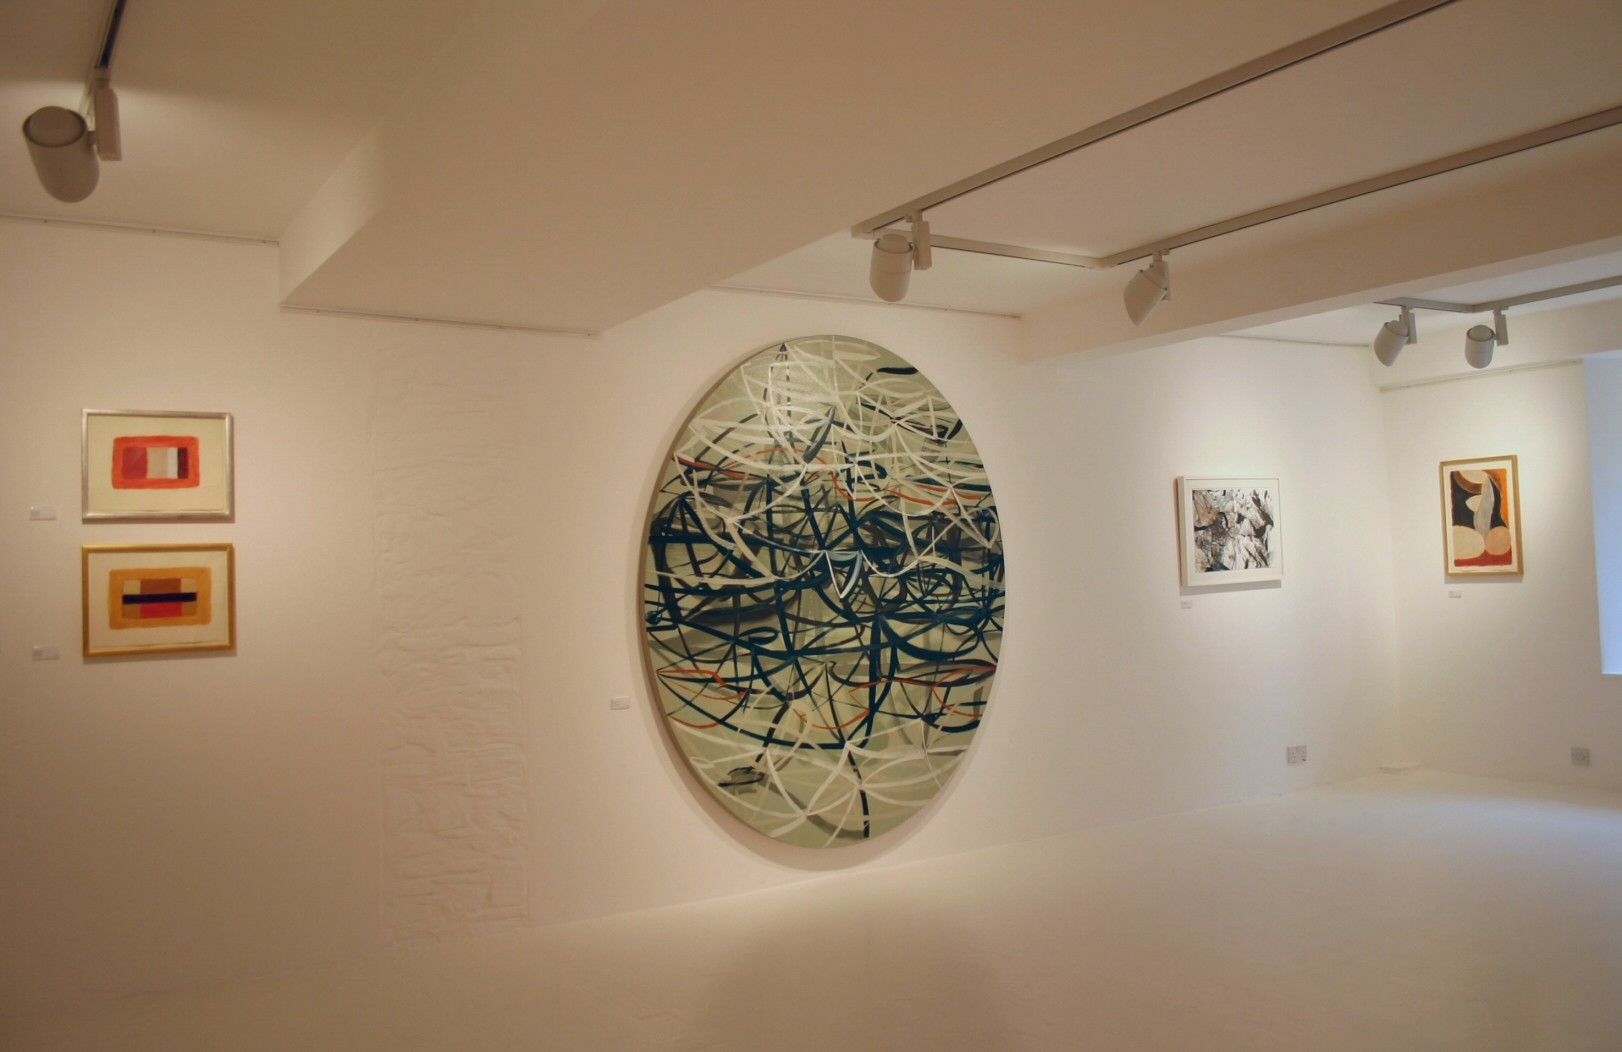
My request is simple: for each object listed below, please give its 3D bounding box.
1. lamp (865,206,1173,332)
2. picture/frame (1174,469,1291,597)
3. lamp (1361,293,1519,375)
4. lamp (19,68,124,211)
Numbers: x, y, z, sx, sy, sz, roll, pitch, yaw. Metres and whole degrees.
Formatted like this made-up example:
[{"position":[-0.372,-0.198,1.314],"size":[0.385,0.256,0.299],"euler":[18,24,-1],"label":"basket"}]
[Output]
[{"position":[0.993,-1.205,4.990],"size":[1.661,0.402,0.514],"euler":[-2,4,-28],"label":"lamp"},{"position":[2.846,0.066,7.083],"size":[0.849,0.640,0.088],"euler":[0,-4,-29],"label":"picture/frame"},{"position":[4.160,-1.258,6.775],"size":[0.925,0.562,0.245],"euler":[10,3,-9],"label":"lamp"},{"position":[-2.409,-1.287,3.442],"size":[0.332,0.391,0.207],"euler":[0,4,8],"label":"lamp"}]
